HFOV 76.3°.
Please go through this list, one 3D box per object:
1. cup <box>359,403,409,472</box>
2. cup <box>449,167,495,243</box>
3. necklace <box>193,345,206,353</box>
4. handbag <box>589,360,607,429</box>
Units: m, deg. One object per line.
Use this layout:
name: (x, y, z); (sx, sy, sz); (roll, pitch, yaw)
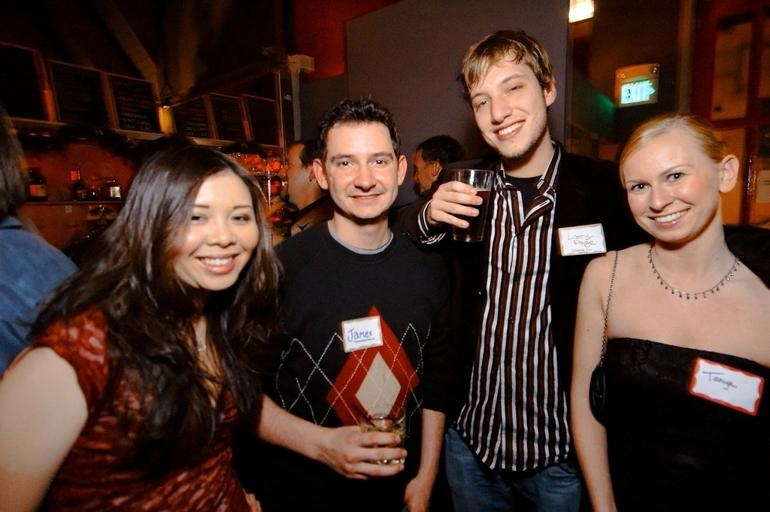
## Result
cup: (0.014, 0.820, 2.273); (0.223, 0.244, 0.219); (-1, 2, 0)
cup: (0.449, -0.247, 2.536); (0.186, 0.411, 0.188); (-5, 14, 1)
necklace: (-0.835, 0.420, 2.204); (0.053, 0.052, 0.017); (10, -4, -24)
handbag: (1.039, 0.671, 2.393); (0.073, 0.245, 0.182); (7, 12, 12)
